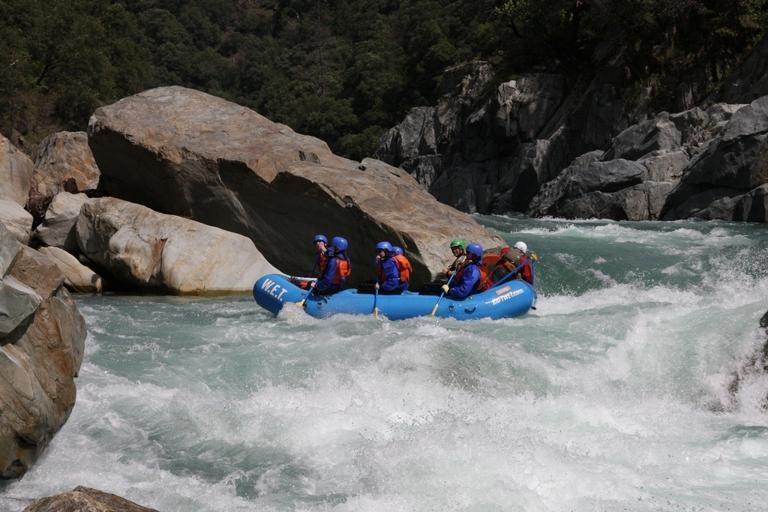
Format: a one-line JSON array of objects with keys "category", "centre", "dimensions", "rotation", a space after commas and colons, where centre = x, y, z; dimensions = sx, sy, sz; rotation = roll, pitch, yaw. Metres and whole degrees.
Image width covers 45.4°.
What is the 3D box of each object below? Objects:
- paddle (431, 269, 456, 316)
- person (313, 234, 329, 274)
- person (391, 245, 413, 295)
[{"category": "paddle", "centre": [1.695, 1.119, 25.891], "dimensions": [0.193, 1.511, 0.111], "rotation": [15, -33, 29]}, {"category": "person", "centre": [-1.779, 0.030, 26.483], "dimensions": [0.363, 0.979, 0.745], "rotation": [2, 5, 1]}, {"category": "person", "centre": [0.533, 0.430, 26.114], "dimensions": [0.954, 1.512, 1.023], "rotation": [-1, 3, -1]}]
